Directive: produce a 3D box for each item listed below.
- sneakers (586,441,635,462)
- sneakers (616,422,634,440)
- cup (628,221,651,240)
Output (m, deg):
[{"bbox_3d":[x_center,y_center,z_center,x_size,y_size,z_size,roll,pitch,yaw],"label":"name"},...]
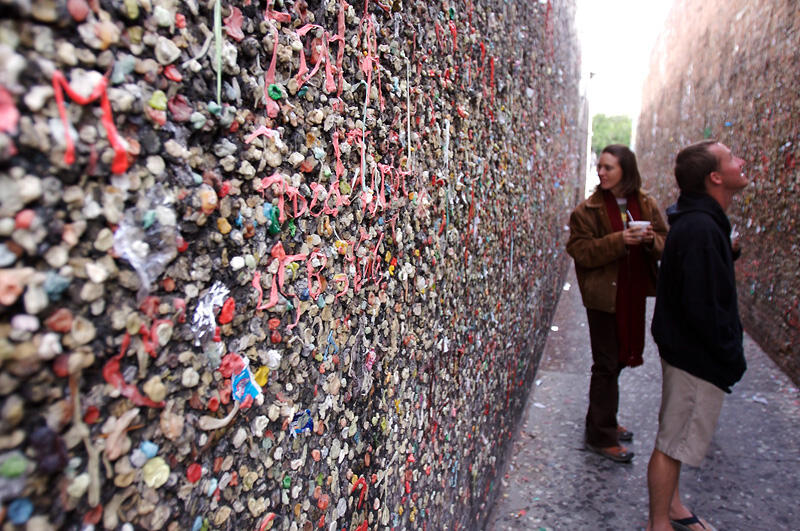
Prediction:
[{"bbox_3d":[1.278,1.086,3.377,0.238,0.122,0.093,2,9,37],"label":"sneakers"},{"bbox_3d":[1.422,1.053,3.532,0.051,0.075,0.165,0,-5,7],"label":"sneakers"},{"bbox_3d":[1.338,-0.187,3.119,0.105,0.093,0.114,4,-15,1],"label":"cup"}]
